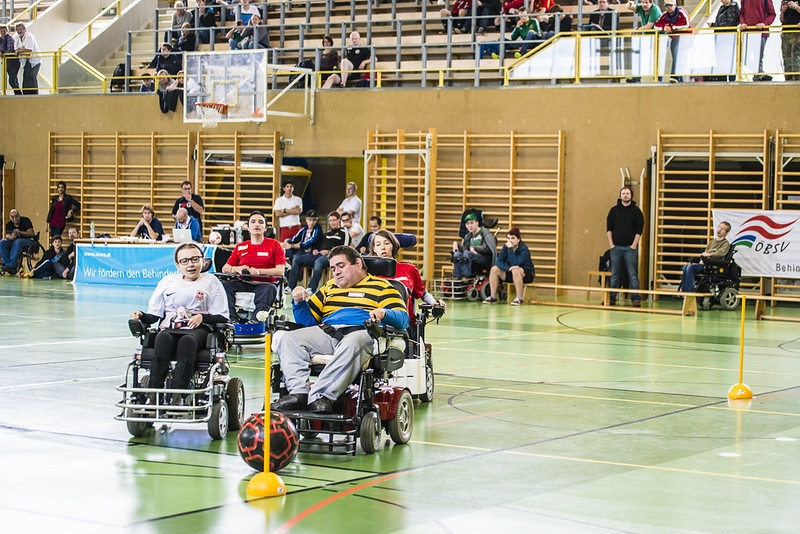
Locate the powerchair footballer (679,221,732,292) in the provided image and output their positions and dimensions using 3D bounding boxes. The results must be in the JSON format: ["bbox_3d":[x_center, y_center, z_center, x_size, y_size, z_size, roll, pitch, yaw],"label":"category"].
[{"bbox_3d":[5.999,-0.211,24.897,0.864,1.445,0.641,0,1,19],"label":"powerchair footballer"}]

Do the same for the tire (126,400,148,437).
[{"bbox_3d":[-3.136,1.809,15.240,0.152,0.413,0.421,-1,-6,15],"label":"tire"}]

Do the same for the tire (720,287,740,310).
[{"bbox_3d":[6.433,0.620,24.916,0.399,0.387,0.150,-9,16,-30],"label":"tire"}]

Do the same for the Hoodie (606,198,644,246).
[{"bbox_3d":[4.611,-0.896,25.954,0.980,1.237,0.545,-1,-7,26],"label":"Hoodie"}]

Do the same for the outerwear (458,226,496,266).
[{"bbox_3d":[1.560,-0.392,26.237,0.834,0.811,0.757,-2,-7,34],"label":"outerwear"}]

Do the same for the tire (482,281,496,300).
[{"bbox_3d":[1.819,0.481,25.954,0.151,0.381,0.389,1,4,15],"label":"tire"}]

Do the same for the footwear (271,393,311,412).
[{"bbox_3d":[-1.248,1.605,14.883,0.509,0.205,0.168,3,-6,4],"label":"footwear"}]

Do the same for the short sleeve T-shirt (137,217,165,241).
[{"bbox_3d":[-5.637,-0.849,28.859,0.568,0.446,0.404,1,-11,39],"label":"short sleeve T-shirt"}]

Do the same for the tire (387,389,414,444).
[{"bbox_3d":[-0.004,1.812,15.271,0.178,0.603,0.540,-3,-16,25],"label":"tire"}]

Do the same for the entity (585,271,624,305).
[{"bbox_3d":[4.237,0.405,27.046,0.678,0.622,0.551,5,10,29],"label":"entity"}]

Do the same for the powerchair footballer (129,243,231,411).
[{"bbox_3d":[-2.644,0.621,15.612,0.664,1.579,2.024,1,1,7],"label":"powerchair footballer"}]

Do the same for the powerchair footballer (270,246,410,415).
[{"bbox_3d":[-0.764,0.796,15.239,0.991,1.722,2.240,1,0,21],"label":"powerchair footballer"}]

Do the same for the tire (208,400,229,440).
[{"bbox_3d":[-2.181,1.848,15.281,0.129,0.354,0.357,4,-31,13],"label":"tire"}]

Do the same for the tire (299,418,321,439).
[{"bbox_3d":[-1.039,1.907,14.913,0.283,0.303,0.248,0,10,-5],"label":"tire"}]

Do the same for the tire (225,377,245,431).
[{"bbox_3d":[-2.005,1.688,15.482,0.219,0.602,0.612,-4,-6,3],"label":"tire"}]

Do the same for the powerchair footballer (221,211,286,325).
[{"bbox_3d":[-2.338,0.137,19.872,1.003,2.032,1.205,-2,-3,8],"label":"powerchair footballer"}]

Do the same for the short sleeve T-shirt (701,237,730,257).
[{"bbox_3d":[6.209,-0.383,24.967,0.202,0.341,0.347,35,-12,-23],"label":"short sleeve T-shirt"}]

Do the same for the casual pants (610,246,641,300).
[{"bbox_3d":[4.587,0.118,26.031,0.613,1.145,1.454,3,10,9],"label":"casual pants"}]

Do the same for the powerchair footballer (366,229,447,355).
[{"bbox_3d":[0.363,0.243,17.281,1.168,1.345,0.998,-1,-16,-30],"label":"powerchair footballer"}]

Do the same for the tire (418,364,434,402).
[{"bbox_3d":[0.338,1.537,16.662,0.177,0.489,0.499,-2,4,16],"label":"tire"}]

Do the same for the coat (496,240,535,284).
[{"bbox_3d":[2.310,-0.152,25.650,0.775,1.015,0.459,3,10,9],"label":"coat"}]
